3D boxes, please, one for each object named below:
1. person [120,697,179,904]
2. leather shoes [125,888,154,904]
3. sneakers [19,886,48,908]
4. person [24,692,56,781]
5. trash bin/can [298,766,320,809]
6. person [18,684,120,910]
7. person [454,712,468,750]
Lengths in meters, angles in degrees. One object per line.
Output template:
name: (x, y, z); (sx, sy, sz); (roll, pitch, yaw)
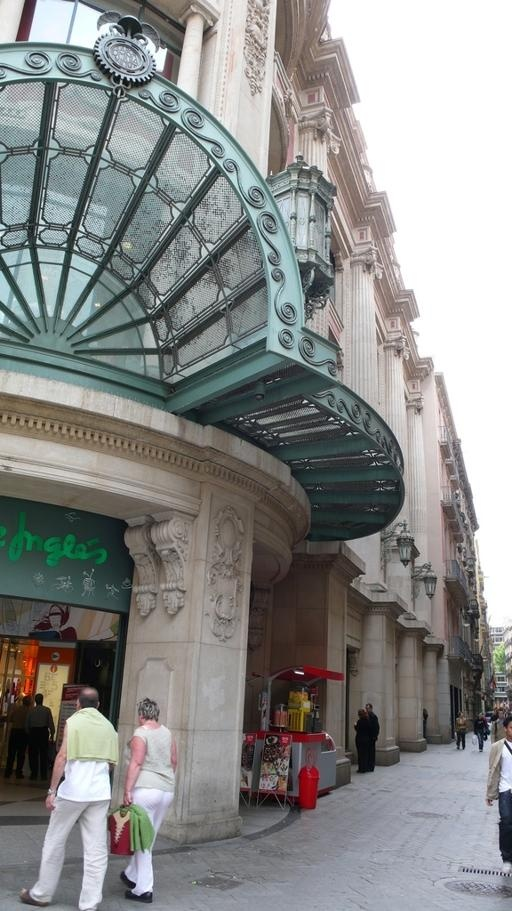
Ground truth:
person: (-0.701, 2.268, 3.948); (0.312, 1.220, 0.700); (3, -18, -7)
leather shoes: (-0.754, 2.814, 3.820); (0.182, 0.064, 0.126); (0, -19, 2)
sneakers: (-1.267, 2.503, 3.410); (0.149, 0.066, 0.074); (11, -18, 28)
person: (-3.632, 4.699, 10.211); (0.425, 1.445, 0.352); (2, 7, -3)
trash bin/can: (0.886, 5.654, 10.214); (0.324, 0.670, 0.338); (2, -18, -1)
person: (-1.056, 1.998, 3.475); (0.466, 1.215, 0.478); (7, -18, -17)
person: (10.121, 13.616, 29.715); (0.427, 1.678, 2.799); (-4, -19, 16)
